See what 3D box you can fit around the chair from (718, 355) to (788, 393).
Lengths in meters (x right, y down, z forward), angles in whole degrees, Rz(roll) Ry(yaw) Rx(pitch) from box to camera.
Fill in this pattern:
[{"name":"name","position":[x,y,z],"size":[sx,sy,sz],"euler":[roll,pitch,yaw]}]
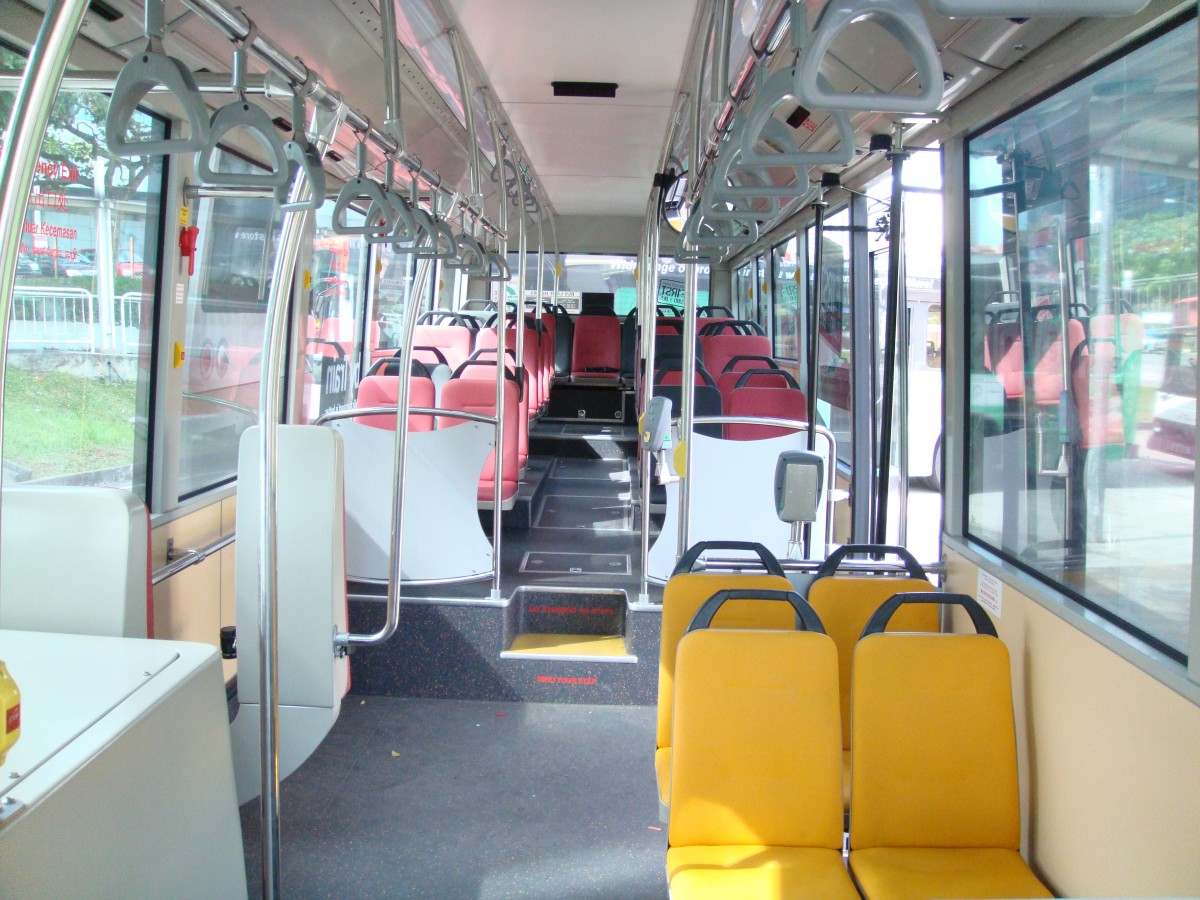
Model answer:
[{"name":"chair","position":[1.162,-0.583,6.389],"size":[0.485,0.377,0.355],"euler":[1,2,-6]}]

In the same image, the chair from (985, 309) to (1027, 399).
[{"name":"chair","position":[1.729,-0.477,3.666],"size":[0.167,0.320,0.299],"euler":[-2,10,24]}]

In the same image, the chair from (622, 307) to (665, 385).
[{"name":"chair","position":[0.593,-1.553,11.713],"size":[0.637,1.107,0.651],"euler":[1,6,26]}]

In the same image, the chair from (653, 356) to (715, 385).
[{"name":"chair","position":[0.654,-0.716,6.847],"size":[0.407,0.307,0.299],"euler":[1,-3,1]}]

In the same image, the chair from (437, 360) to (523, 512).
[{"name":"chair","position":[-0.820,-0.036,5.795],"size":[0.550,0.950,0.799],"euler":[-1,28,-10]}]

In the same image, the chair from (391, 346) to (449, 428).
[{"name":"chair","position":[-1.190,-0.433,5.901],"size":[0.315,0.586,0.309],"euler":[-3,1,-33]}]

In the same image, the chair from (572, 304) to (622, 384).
[{"name":"chair","position":[-0.032,-1.421,10.905],"size":[0.682,1.093,0.896],"euler":[1,-12,0]}]

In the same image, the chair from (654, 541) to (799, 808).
[{"name":"chair","position":[0.487,0.764,2.991],"size":[0.568,0.981,0.760],"euler":[2,-13,0]}]
